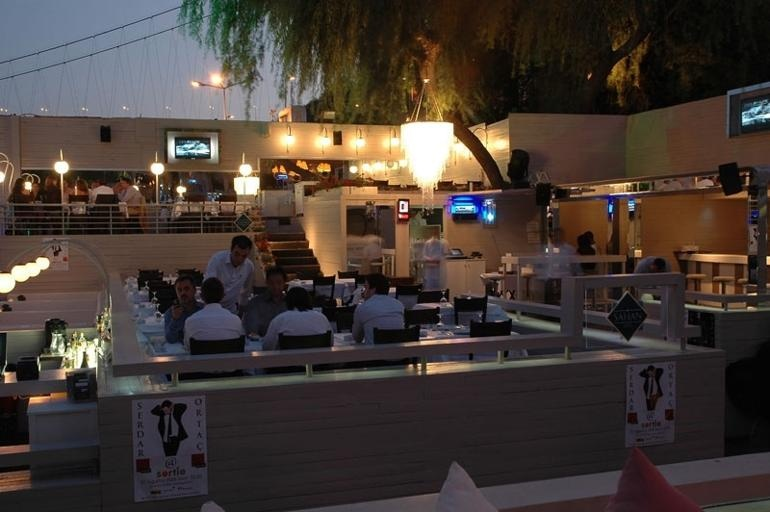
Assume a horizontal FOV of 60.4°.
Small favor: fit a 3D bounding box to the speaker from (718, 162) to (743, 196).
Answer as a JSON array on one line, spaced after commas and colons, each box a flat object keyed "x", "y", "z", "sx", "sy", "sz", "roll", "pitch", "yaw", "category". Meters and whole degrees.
[{"x": 4.016, "y": -0.888, "z": 7.717, "sx": 0.297, "sy": 0.429, "sz": 0.086, "roll": 2, "pitch": -5, "yaw": 0, "category": "speaker"}]

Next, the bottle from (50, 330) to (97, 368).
[{"x": -3.486, "y": 1.038, "z": 7.365, "sx": 0.341, "sy": 0.340, "sz": 0.082, "roll": 1, "pitch": -1, "yaw": 22, "category": "bottle"}]

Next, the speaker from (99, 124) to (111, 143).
[{"x": -8.221, "y": -3.587, "z": 19.498, "sx": 0.343, "sy": 0.491, "sz": 0.232, "roll": -6, "pitch": 13, "yaw": -24, "category": "speaker"}]

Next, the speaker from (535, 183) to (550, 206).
[{"x": 2.659, "y": -1.029, "z": 11.164, "sx": 0.280, "sy": 0.401, "sz": 0.261, "roll": -2, "pitch": 13, "yaw": -4, "category": "speaker"}]

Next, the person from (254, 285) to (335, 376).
[{"x": -0.875, "y": 0.774, "z": 6.527, "sx": 0.656, "sy": 0.945, "sz": 0.538, "roll": 0, "pitch": 6, "yaw": -28, "category": "person"}]

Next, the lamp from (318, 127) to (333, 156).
[{"x": -1.913, "y": -3.665, "z": 21.287, "sx": 0.449, "sy": 0.875, "sz": 0.212, "roll": -10, "pitch": 15, "yaw": -37, "category": "lamp"}]

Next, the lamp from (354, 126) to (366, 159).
[{"x": -0.805, "y": -3.672, "z": 21.472, "sx": 0.383, "sy": 0.934, "sz": 0.214, "roll": -3, "pitch": 12, "yaw": -11, "category": "lamp"}]

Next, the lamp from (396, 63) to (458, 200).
[{"x": 0.587, "y": -1.583, "z": 8.514, "sx": 0.488, "sy": 1.358, "sz": 0.517, "roll": -4, "pitch": 7, "yaw": 24, "category": "lamp"}]

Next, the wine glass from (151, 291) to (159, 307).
[{"x": -3.270, "y": 0.612, "z": 9.407, "sx": 0.071, "sy": 0.146, "sz": 0.028, "roll": 1, "pitch": 20, "yaw": 20, "category": "wine glass"}]

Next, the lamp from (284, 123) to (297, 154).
[{"x": -2.974, "y": -3.718, "z": 20.921, "sx": 0.322, "sy": 0.909, "sz": 0.246, "roll": -6, "pitch": 13, "yaw": -24, "category": "lamp"}]

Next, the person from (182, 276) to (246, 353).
[{"x": -1.668, "y": 0.646, "z": 6.380, "sx": 0.547, "sy": 0.846, "sz": 0.467, "roll": 4, "pitch": -13, "yaw": -34, "category": "person"}]

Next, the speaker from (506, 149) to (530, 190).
[{"x": 3.310, "y": -2.107, "z": 16.405, "sx": 0.551, "sy": 1.124, "sz": 0.525, "roll": 1, "pitch": 6, "yaw": -3, "category": "speaker"}]

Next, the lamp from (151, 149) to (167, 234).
[{"x": -6.633, "y": -1.780, "z": 19.715, "sx": 0.432, "sy": 2.489, "sz": 0.433, "roll": -8, "pitch": 3, "yaw": -22, "category": "lamp"}]

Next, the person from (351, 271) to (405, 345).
[{"x": -0.066, "y": 0.617, "z": 7.238, "sx": 0.605, "sy": 0.878, "sz": 0.556, "roll": -9, "pitch": 13, "yaw": -41, "category": "person"}]

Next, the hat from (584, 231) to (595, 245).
[{"x": 4.142, "y": -0.364, "z": 13.419, "sx": 0.226, "sy": 0.311, "sz": 0.310, "roll": -3, "pitch": -8, "yaw": 14, "category": "hat"}]
